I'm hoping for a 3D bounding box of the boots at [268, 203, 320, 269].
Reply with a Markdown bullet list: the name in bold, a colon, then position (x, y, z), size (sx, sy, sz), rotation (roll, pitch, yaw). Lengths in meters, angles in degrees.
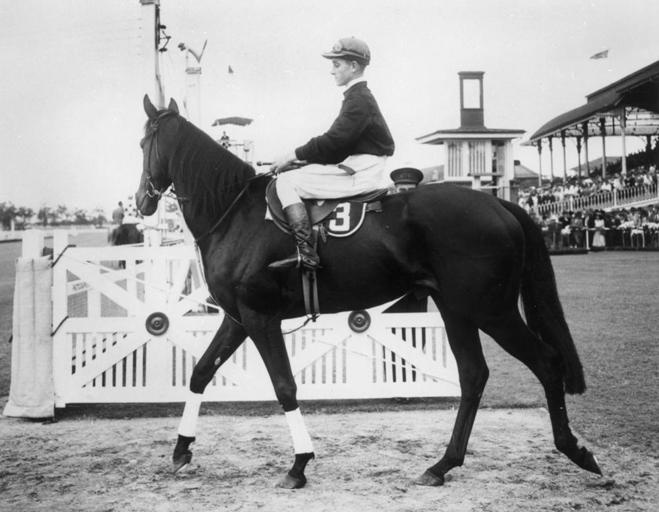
- **boots**: position (-0.199, -0.157, 6.942), size (0.225, 0.484, 0.291), rotation (-7, 15, -22)
